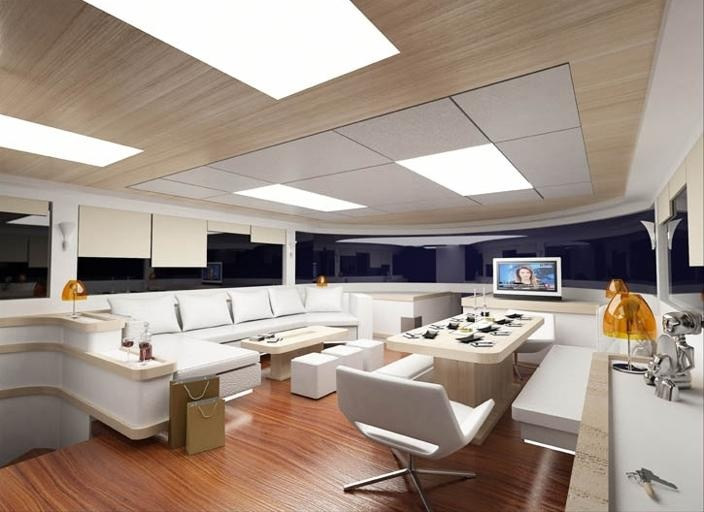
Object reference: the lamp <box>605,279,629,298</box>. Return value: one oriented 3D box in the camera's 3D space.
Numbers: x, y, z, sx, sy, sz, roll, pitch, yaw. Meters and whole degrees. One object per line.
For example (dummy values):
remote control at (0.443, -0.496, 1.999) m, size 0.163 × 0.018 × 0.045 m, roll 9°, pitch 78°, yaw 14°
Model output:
lamp at (2.854, 0.349, 4.611) m, size 0.230 × 0.238 × 0.262 m, roll 1°, pitch -5°, yaw -18°

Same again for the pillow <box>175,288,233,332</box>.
pillow at (-2.129, 0.798, 6.206) m, size 0.433 × 0.522 × 0.802 m, roll 10°, pitch 15°, yaw 43°

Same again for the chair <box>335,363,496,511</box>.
chair at (0.454, 1.185, 3.482) m, size 1.233 × 1.152 × 1.051 m, roll 2°, pitch 6°, yaw 33°

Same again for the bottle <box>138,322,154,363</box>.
bottle at (-1.981, 0.804, 4.111) m, size 0.112 × 0.347 × 0.479 m, roll -6°, pitch 12°, yaw -27°

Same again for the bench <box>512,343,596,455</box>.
bench at (1.705, 1.204, 3.628) m, size 0.393 × 0.215 × 0.956 m, roll 0°, pitch 5°, yaw 32°

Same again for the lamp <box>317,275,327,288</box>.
lamp at (-0.585, 0.500, 8.277) m, size 0.204 × 0.214 × 0.194 m, roll -1°, pitch 3°, yaw -11°

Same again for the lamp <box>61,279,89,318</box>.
lamp at (-3.082, 0.464, 4.750) m, size 0.224 × 0.371 × 0.222 m, roll -1°, pitch 0°, yaw -8°

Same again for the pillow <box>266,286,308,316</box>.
pillow at (-1.144, 0.747, 7.354) m, size 0.557 × 0.476 × 0.149 m, roll 6°, pitch -31°, yaw -44°

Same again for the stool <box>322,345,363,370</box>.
stool at (-0.127, 1.221, 5.356) m, size 0.346 × 0.328 × 0.345 m, roll 0°, pitch 4°, yaw 39°

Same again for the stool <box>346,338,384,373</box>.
stool at (0.173, 1.323, 5.773) m, size 0.376 × 0.386 × 0.378 m, roll -4°, pitch -4°, yaw 33°
